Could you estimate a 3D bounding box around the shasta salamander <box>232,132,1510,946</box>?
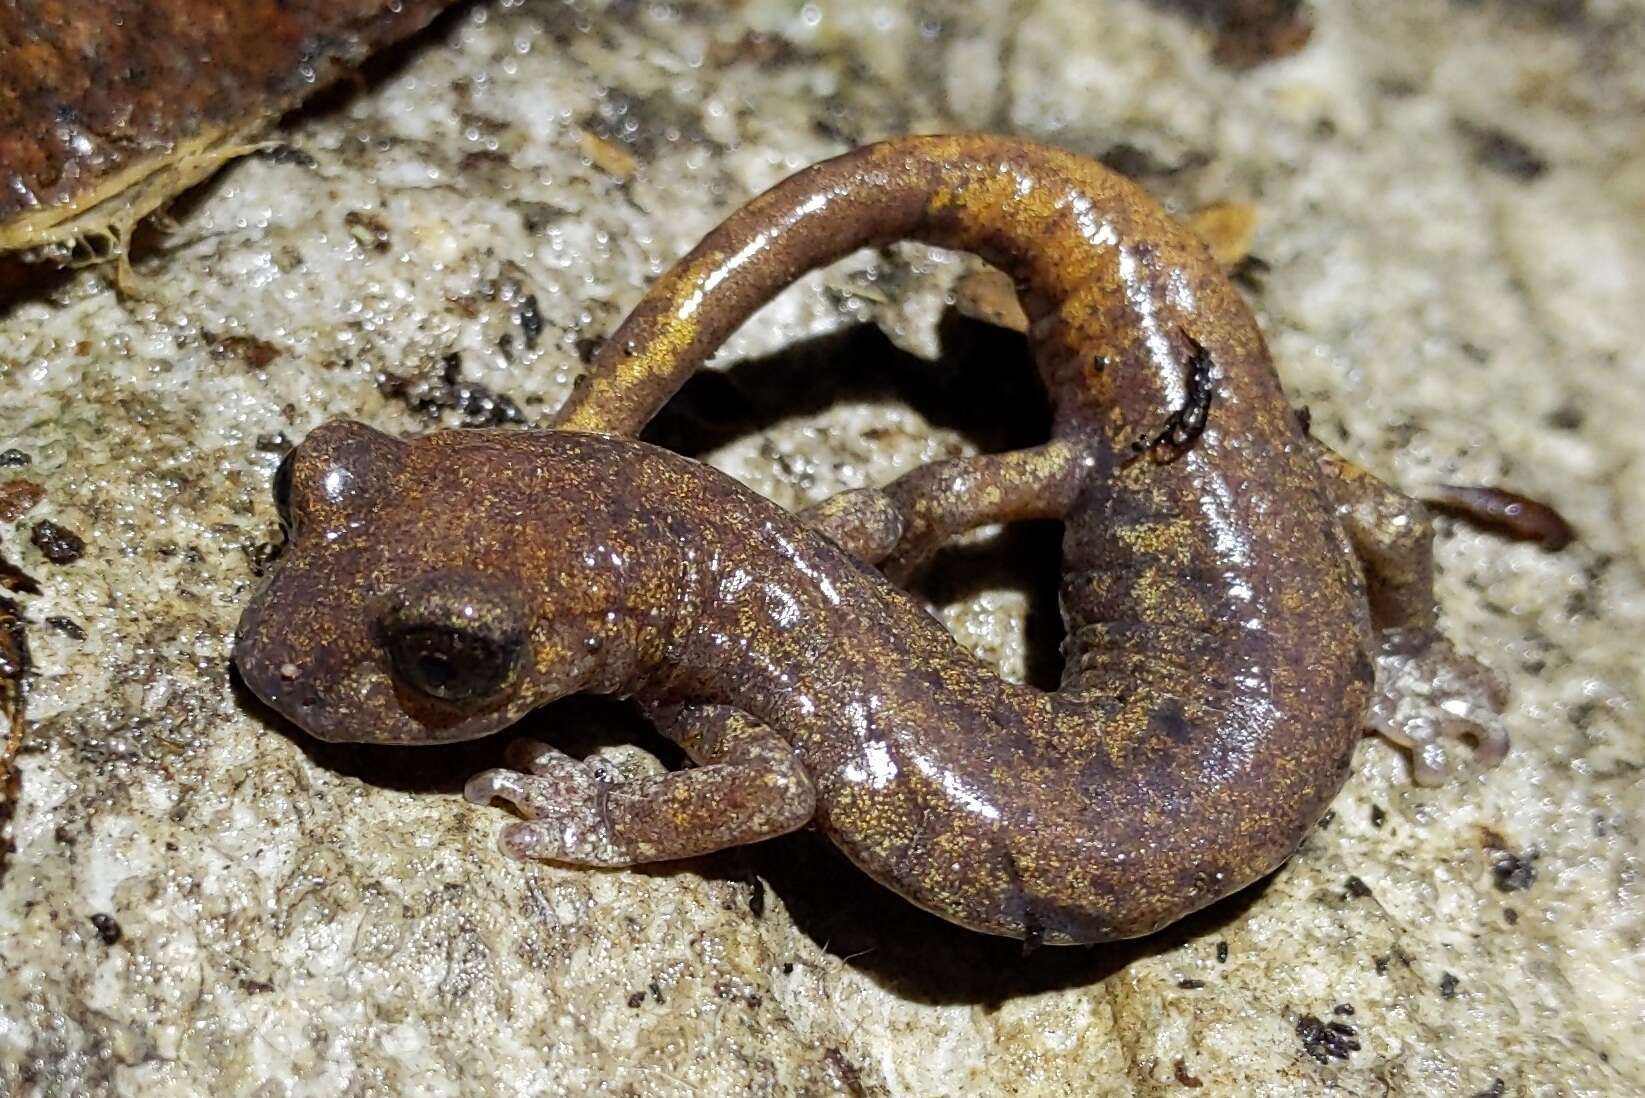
[{"bbox_3d":[0.213,0.057,7.761,4.124,1.341,3.617,-27,60,-25],"label":"shasta salamander"}]
